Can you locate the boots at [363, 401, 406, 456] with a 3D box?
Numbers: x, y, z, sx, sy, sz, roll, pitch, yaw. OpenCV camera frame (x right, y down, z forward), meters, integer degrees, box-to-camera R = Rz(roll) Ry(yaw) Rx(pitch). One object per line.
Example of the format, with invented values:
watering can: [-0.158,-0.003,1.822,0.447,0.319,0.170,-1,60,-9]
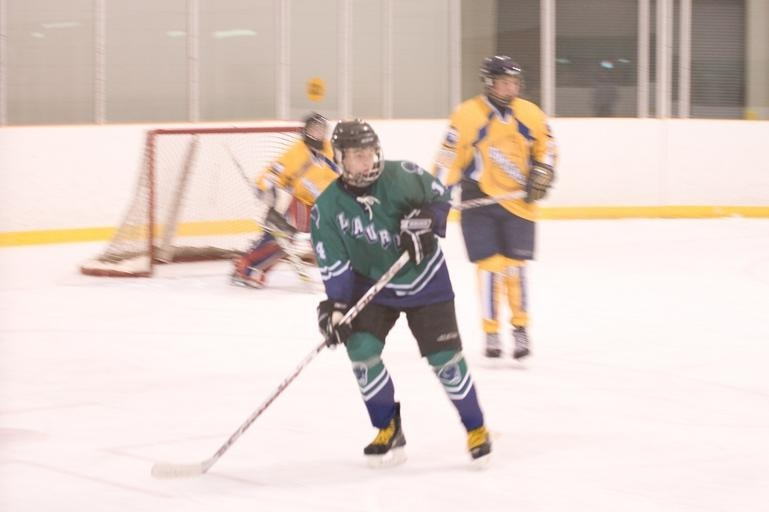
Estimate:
boots: [-0.008,0.754,3.826,0.104,0.187,0.242,-10,-1,36]

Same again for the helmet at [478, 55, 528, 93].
helmet: [0.682,-1.021,4.908,0.294,0.237,0.217,-10,18,-22]

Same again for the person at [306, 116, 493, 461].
person: [0.071,0.145,3.766,0.738,1.438,0.352,-1,10,-5]

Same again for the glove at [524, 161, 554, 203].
glove: [0.851,-0.411,4.915,0.192,0.194,0.211,2,1,2]

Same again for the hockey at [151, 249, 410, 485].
hockey: [-0.507,0.578,4.397,1.518,0.157,0.153,-37,26,-15]

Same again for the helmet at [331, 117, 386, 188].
helmet: [-0.116,-0.448,3.771,0.218,0.240,0.271,-11,23,-25]

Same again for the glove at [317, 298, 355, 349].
glove: [-0.213,0.278,3.783,0.158,0.182,0.068,-6,-4,-9]

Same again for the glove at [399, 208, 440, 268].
glove: [0.145,-0.098,3.719,0.090,0.196,0.207,1,29,44]

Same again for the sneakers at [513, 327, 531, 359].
sneakers: [0.747,0.467,4.800,0.095,0.171,0.056,1,10,7]
